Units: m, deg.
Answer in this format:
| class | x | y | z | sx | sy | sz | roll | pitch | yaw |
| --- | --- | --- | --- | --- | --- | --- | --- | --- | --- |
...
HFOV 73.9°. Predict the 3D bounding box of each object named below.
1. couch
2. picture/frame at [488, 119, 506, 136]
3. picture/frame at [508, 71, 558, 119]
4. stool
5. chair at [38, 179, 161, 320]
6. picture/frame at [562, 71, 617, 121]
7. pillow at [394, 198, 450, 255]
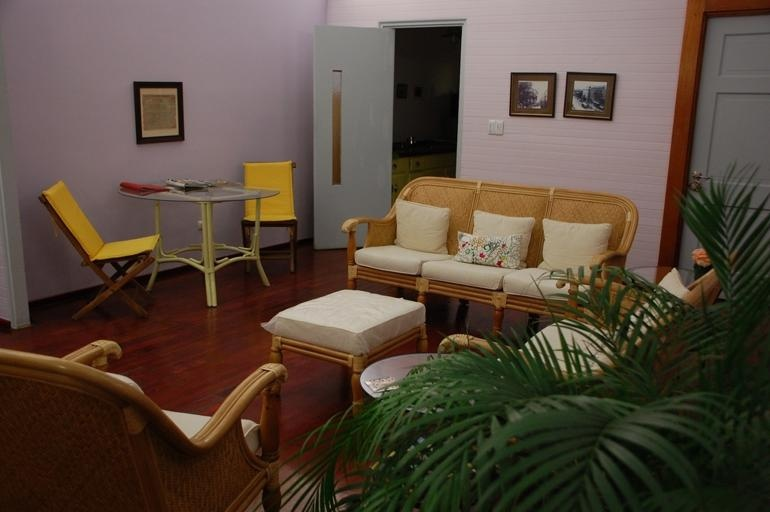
| class | x | y | z | sx | sy | sz | roll | pitch | yaw |
| --- | --- | --- | --- | --- | --- | --- | --- | --- | --- |
| couch | 0.780 | 0.024 | 4.019 | 1.480 | 0.740 | 0.627 | 8 | 15 | 30 |
| picture/frame | 1.410 | -1.616 | 6.426 | 0.195 | 0.185 | 0.065 | 7 | 14 | 34 |
| picture/frame | 1.815 | -1.958 | 6.173 | 0.562 | 0.549 | 0.055 | 7 | 13 | 30 |
| stool | -0.268 | 0.738 | 3.460 | 0.820 | 0.524 | 0.786 | 8 | 17 | 37 |
| chair | -2.605 | -0.051 | 4.799 | 0.950 | 1.092 | 0.734 | 2 | 12 | -9 |
| picture/frame | 2.383 | -1.855 | 5.900 | 0.559 | 0.547 | 0.042 | 10 | 21 | 30 |
| pillow | 0.374 | -0.277 | 5.015 | 0.509 | 0.401 | 0.196 | 6 | -1 | 24 |
